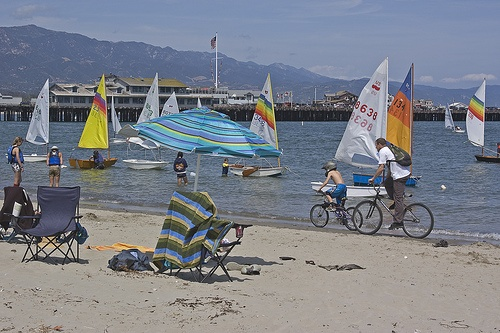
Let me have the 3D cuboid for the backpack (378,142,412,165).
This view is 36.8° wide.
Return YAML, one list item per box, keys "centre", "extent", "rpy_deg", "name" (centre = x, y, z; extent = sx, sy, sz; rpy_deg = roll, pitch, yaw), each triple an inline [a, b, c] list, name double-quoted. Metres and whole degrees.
- centre: [4.249, -0.345, 21.690]
  extent: [0.645, 0.627, 0.467]
  rpy_deg: [-7, 16, 26]
  name: "backpack"

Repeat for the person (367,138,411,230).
- centre: [4.097, 0.414, 21.865]
  extent: [0.984, 2.563, 1.054]
  rpy_deg: [-12, 15, -39]
  name: "person"

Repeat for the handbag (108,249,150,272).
- centre: [-3.060, 2.348, 19.345]
  extent: [1.000, 0.408, 1.173]
  rpy_deg: [11, 11, 5]
  name: "handbag"

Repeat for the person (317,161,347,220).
- centre: [2.557, 0.667, 23.233]
  extent: [0.781, 1.648, 0.723]
  rpy_deg: [1, 1, -40]
  name: "person"

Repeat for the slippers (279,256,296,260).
- centre: [0.985, 2.471, 20.202]
  extent: [0.422, 0.149, 0.197]
  rpy_deg: [1, 4, 7]
  name: "slippers"

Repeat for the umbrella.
- centre: [-1.131, -0.804, 19.054]
  extent: [3.302, 1.112, 1.142]
  rpy_deg: [1, 6, -2]
  name: "umbrella"

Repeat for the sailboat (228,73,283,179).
- centre: [0.632, -2.296, 41.591]
  extent: [3.708, 6.746, 2.176]
  rpy_deg: [1, -4, 17]
  name: "sailboat"

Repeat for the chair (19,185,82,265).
- centre: [-4.969, 1.359, 19.179]
  extent: [1.807, 2.312, 1.228]
  rpy_deg: [5, -3, 42]
  name: "chair"
